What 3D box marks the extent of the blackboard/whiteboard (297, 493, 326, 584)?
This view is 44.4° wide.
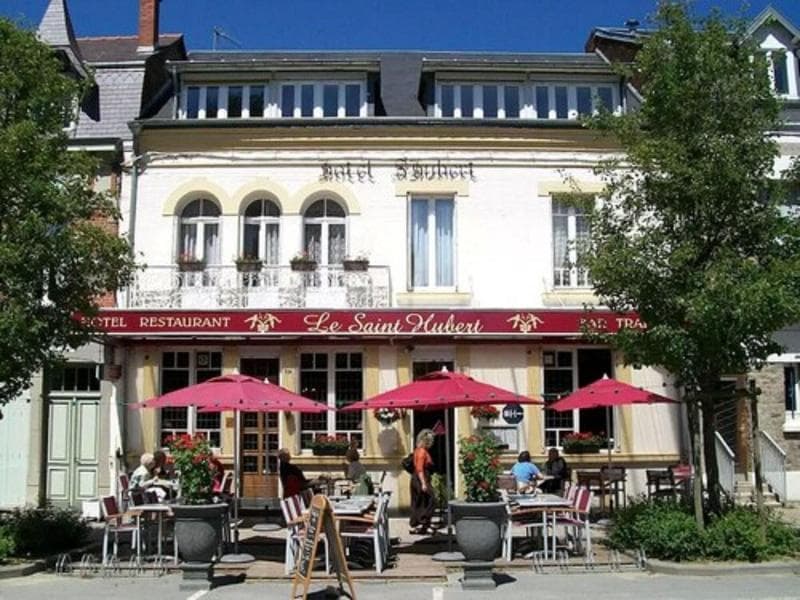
[{"bbox_3d":[-1.438,3.851,15.897,0.457,1.362,0.554,1,-2,4],"label":"blackboard/whiteboard"}]

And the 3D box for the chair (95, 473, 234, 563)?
[{"bbox_3d":[-4.654,4.127,18.561,1.885,1.564,3.802,3,-13,-22],"label":"chair"}]

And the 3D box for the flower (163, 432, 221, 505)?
[{"bbox_3d":[-3.670,2.981,17.292,0.760,1.232,0.511,2,-12,-16],"label":"flower"}]

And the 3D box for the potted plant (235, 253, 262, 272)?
[{"bbox_3d":[-3.666,-0.940,23.731,0.461,0.317,0.413,1,-6,-3],"label":"potted plant"}]

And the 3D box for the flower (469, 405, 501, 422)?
[{"bbox_3d":[1.952,2.683,23.318,0.649,0.390,0.672,3,-14,-2],"label":"flower"}]

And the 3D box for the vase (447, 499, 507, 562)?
[{"bbox_3d":[1.394,3.967,17.118,0.921,0.998,0.947,3,-3,-36],"label":"vase"}]

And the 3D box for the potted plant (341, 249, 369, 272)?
[{"bbox_3d":[-1.081,-0.986,23.685,0.459,0.361,0.487,0,-6,-3],"label":"potted plant"}]

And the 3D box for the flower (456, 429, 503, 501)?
[{"bbox_3d":[1.389,2.958,17.310,0.689,1.196,0.532,-3,-12,4],"label":"flower"}]

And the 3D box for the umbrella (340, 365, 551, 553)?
[{"bbox_3d":[0.761,2.812,19.967,3.604,3.807,3.473,1,-4,-14],"label":"umbrella"}]

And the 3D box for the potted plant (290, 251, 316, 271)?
[{"bbox_3d":[-2.347,-0.959,23.604,0.442,0.334,0.458,1,-1,0],"label":"potted plant"}]

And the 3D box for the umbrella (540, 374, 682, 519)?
[{"bbox_3d":[4.458,2.994,21.594,2.399,2.298,2.489,0,-18,-4],"label":"umbrella"}]
